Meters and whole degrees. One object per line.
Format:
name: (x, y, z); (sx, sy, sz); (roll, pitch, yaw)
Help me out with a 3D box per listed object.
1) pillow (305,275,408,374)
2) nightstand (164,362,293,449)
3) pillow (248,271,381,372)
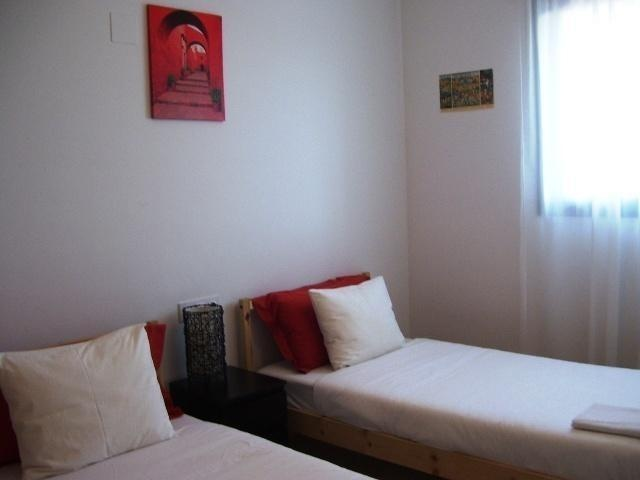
pillow: (0.269, 0.529, 3.032); (0.645, 0.492, 0.323); (-8, 10, -39)
nightstand: (-0.465, 1.042, 2.620); (0.338, 0.524, 0.489); (6, 4, 45)
pillow: (-0.150, 0.540, 2.913); (0.676, 0.441, 0.191); (-15, -11, -31)
